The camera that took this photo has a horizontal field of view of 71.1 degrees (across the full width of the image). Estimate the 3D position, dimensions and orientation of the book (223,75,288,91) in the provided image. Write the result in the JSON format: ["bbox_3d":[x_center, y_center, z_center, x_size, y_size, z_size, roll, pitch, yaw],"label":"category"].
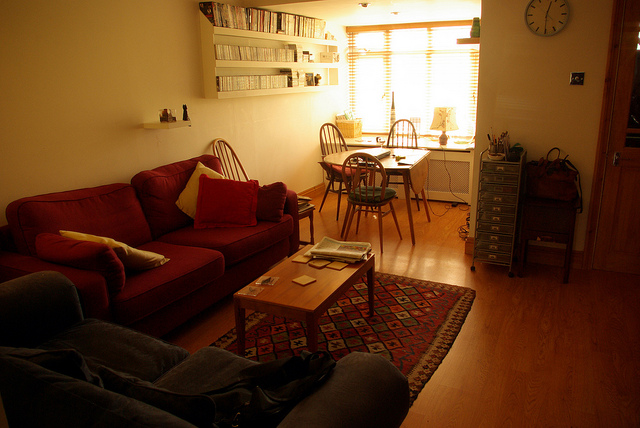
[{"bbox_3d":[-0.752,-1.622,5.508,0.146,0.179,1.201,7,17,26],"label":"book"}]

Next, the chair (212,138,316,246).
[{"bbox_3d":[-0.668,-0.259,5.065,0.956,1.584,0.925,8,23,27],"label":"chair"}]

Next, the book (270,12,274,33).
[{"bbox_3d":[-0.598,-2.386,5.562,0.012,0.236,0.105,6,17,23],"label":"book"}]

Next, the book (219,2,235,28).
[{"bbox_3d":[-1.029,-2.201,4.951,0.056,0.228,0.248,3,12,25],"label":"book"}]

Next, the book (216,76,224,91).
[{"bbox_3d":[-1.115,-1.462,4.996,0.029,0.155,0.067,7,18,29],"label":"book"}]

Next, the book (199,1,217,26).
[{"bbox_3d":[-1.212,-2.169,4.843,0.178,0.241,0.046,4,17,17],"label":"book"}]

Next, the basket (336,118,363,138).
[{"bbox_3d":[0.495,-1.423,7.353,0.283,0.246,0.376,1,11,10],"label":"basket"}]

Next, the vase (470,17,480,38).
[{"bbox_3d":[1.740,-2.093,5.016,0.081,0.212,0.134,4,17,20],"label":"vase"}]

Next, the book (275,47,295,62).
[{"bbox_3d":[-0.455,-2.092,5.892,0.264,0.248,0.061,-13,27,-42],"label":"book"}]

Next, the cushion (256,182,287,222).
[{"bbox_3d":[-0.487,-0.127,4.624,0.358,0.366,0.122,1,-10,0],"label":"cushion"}]

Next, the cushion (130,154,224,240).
[{"bbox_3d":[-1.428,-0.115,4.295,0.212,0.703,0.709,-29,2,45],"label":"cushion"}]

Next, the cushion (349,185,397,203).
[{"bbox_3d":[0.639,-0.276,5.278,0.412,0.176,0.482,9,18,31],"label":"cushion"}]

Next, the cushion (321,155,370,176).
[{"bbox_3d":[0.337,-0.612,6.085,0.397,0.071,0.388,-13,24,-34],"label":"cushion"}]

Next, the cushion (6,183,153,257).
[{"bbox_3d":[-2.166,-0.020,3.902,0.382,0.533,1.172,23,38,30],"label":"cushion"}]

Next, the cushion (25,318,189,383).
[{"bbox_3d":[-1.282,0.863,2.812,0.472,0.113,0.481,21,12,23],"label":"cushion"}]
